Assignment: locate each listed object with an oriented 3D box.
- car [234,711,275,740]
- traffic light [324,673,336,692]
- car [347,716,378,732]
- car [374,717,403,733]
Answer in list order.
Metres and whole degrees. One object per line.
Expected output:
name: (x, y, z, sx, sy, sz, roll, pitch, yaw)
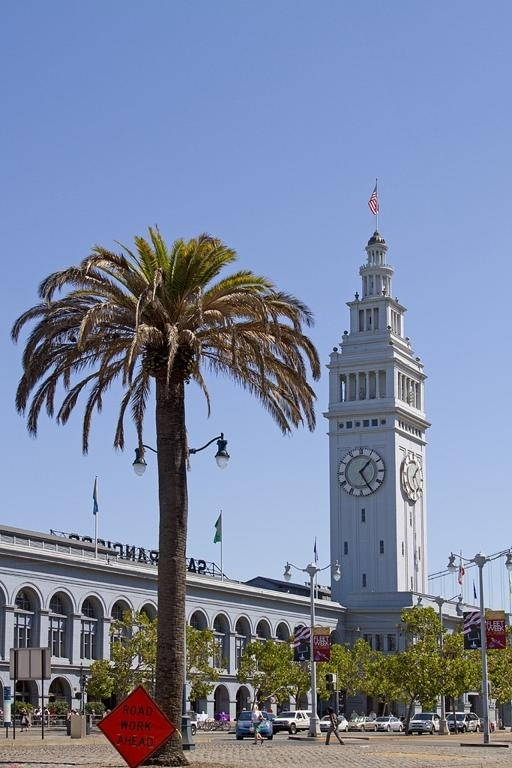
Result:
car: (-0.125, 16.117, 74.922, 1.243, 1.219, 2.474, -1, -21, 2)
traffic light: (3.398, 13.451, 71.390, 0.374, 0.776, 1.280, 0, -15, -3)
car: (6.809, 21.453, 99.368, 0.810, 0.710, 1.928, -12, -26, 33)
car: (8.222, 21.007, 97.543, 1.661, 1.140, 4.260, -2, -16, 5)
